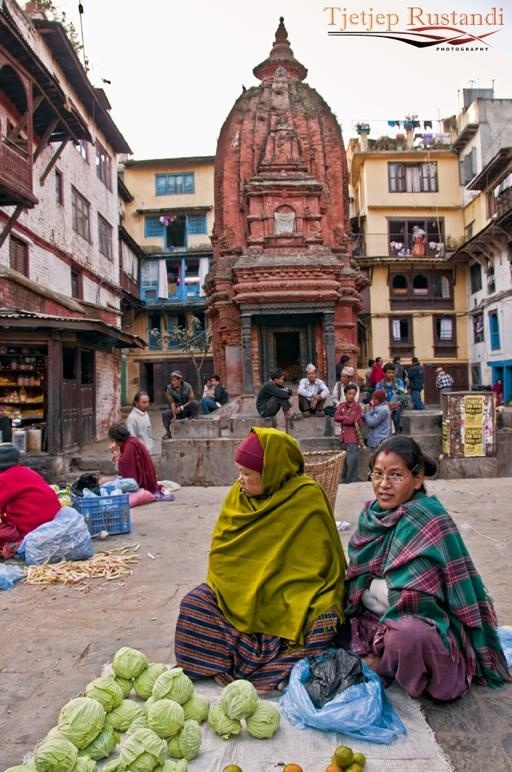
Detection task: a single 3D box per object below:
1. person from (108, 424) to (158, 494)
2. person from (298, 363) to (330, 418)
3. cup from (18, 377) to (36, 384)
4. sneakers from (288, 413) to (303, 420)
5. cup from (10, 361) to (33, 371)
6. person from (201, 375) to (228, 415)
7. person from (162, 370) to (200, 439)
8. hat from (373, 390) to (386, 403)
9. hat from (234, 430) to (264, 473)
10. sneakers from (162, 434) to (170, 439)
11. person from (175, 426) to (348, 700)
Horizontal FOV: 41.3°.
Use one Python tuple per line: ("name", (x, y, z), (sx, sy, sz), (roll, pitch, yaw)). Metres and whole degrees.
("person", (-1.370, 0.845, 7.571), (0.319, 0.876, 0.625), (-3, 5, 20))
("person", (0.898, 0.071, 10.799), (0.471, 0.823, 0.577), (-2, 8, -1))
("cup", (-3.980, -0.072, 11.810), (0.149, 0.113, 0.149), (1, 0, 0))
("sneakers", (0.554, 0.442, 9.541), (0.219, 0.095, 0.082), (-3, 3, -5))
("cup", (-4.046, -0.333, 11.718), (0.186, 0.128, 0.186), (2, -1, 0))
("person", (-0.869, 0.154, 13.863), (0.541, 0.683, 1.304), (-5, 5, -4))
("person", (-1.304, 0.305, 11.168), (0.680, 1.091, 0.688), (-6, 2, -31))
("hat", (1.532, 0.143, 8.391), (0.158, 0.156, 0.122), (-1, 3, 11))
("hat", (-0.022, 0.337, 3.358), (0.127, 0.144, 0.183), (12, -15, 14))
("sneakers", (-1.265, 0.732, 9.645), (0.081, 0.102, 0.242), (-1, -12, -1))
("person", (0.008, 0.819, 3.317), (0.784, 1.158, 0.643), (0, 6, 4))
